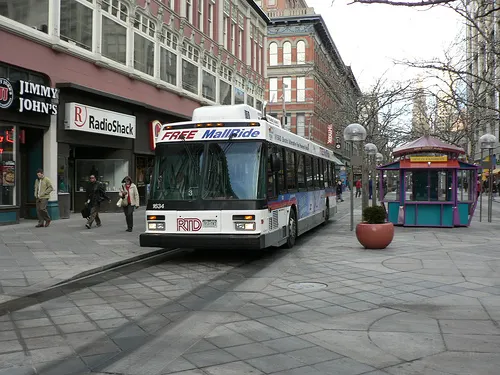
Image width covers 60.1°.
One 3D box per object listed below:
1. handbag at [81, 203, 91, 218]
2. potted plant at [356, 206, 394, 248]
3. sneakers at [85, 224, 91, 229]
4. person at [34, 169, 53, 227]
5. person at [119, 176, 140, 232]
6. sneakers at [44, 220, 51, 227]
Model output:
[{"bbox_3d":[-6.460,0.919,17.048,0.410,0.531,0.736,0,1,1],"label":"handbag"},{"bbox_3d":[3.595,1.112,12.493,0.990,1.214,0.991,-3,2,-41],"label":"potted plant"},{"bbox_3d":[-6.026,1.446,16.146,0.171,0.146,0.273,0,0,-22],"label":"sneakers"},{"bbox_3d":[-7.928,0.413,16.617,0.583,2.072,0.903,0,0,-25],"label":"person"},{"bbox_3d":[-4.468,0.609,15.973,0.609,1.629,1.250,0,0,-17],"label":"person"},{"bbox_3d":[-7.800,1.370,16.684,0.161,0.224,0.617,0,0,-26],"label":"sneakers"}]
